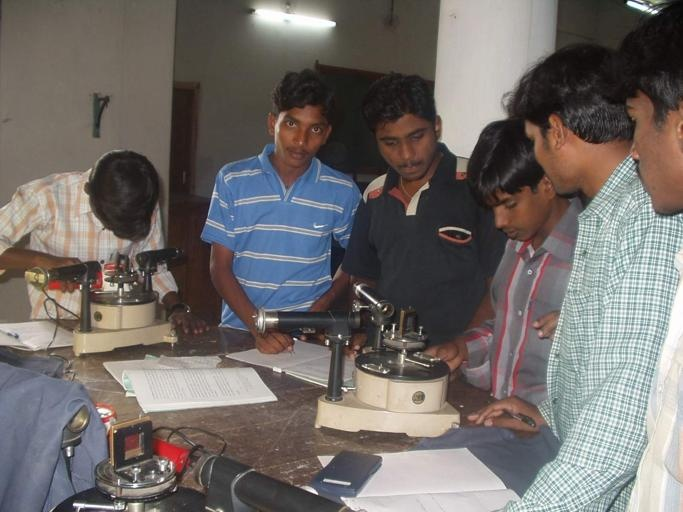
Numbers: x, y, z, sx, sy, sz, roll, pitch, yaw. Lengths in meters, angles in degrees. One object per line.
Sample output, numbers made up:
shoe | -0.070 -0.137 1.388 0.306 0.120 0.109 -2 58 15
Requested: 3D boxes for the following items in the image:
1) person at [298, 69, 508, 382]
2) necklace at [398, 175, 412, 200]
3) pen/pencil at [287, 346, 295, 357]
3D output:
person | 0.293 -0.134 2.590 0.792 1.248 0.730 -4 10 26
necklace | 0.283 -0.302 2.641 0.022 0.094 0.065 -17 9 -22
pen/pencil | -0.198 0.381 2.393 0.017 0.050 0.012 8 7 -14
